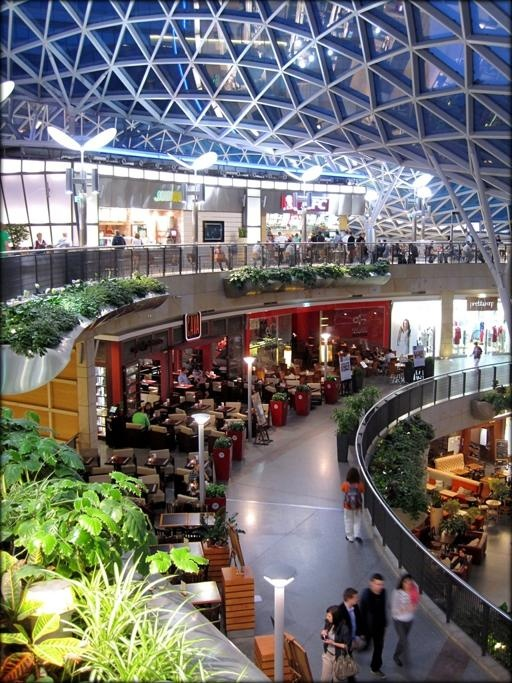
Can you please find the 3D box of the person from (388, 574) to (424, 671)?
[{"bbox_3d":[2.071,3.854,7.089,0.383,1.435,0.756,-4,5,13],"label":"person"}]

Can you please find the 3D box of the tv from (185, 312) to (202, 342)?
[{"bbox_3d":[-2.743,-0.684,21.845,0.096,1.253,1.239,2,5,23],"label":"tv"}]

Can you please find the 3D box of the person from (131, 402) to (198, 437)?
[{"bbox_3d":[-3.578,2.958,19.015,1.743,0.705,0.738,12,23,33],"label":"person"}]

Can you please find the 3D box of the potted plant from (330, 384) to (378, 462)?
[{"bbox_3d":[3.388,2.612,18.319,0.922,1.532,3.540,3,14,16],"label":"potted plant"}]

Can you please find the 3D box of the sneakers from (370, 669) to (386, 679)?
[{"bbox_3d":[1.686,4.590,6.946,0.189,0.083,0.071,-5,-2,42],"label":"sneakers"}]

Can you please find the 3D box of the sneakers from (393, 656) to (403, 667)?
[{"bbox_3d":[2.001,4.528,7.119,0.058,0.070,0.167,-7,4,-15],"label":"sneakers"}]

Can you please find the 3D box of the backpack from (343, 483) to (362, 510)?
[{"bbox_3d":[2.189,3.565,11.412,0.402,0.616,0.358,-5,5,8],"label":"backpack"}]

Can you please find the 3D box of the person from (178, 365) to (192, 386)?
[{"bbox_3d":[-3.320,1.677,23.046,0.521,0.990,1.019,-2,10,1],"label":"person"}]

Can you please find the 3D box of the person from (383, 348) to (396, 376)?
[{"bbox_3d":[7.747,1.351,29.180,0.581,1.127,0.893,-1,7,44],"label":"person"}]
